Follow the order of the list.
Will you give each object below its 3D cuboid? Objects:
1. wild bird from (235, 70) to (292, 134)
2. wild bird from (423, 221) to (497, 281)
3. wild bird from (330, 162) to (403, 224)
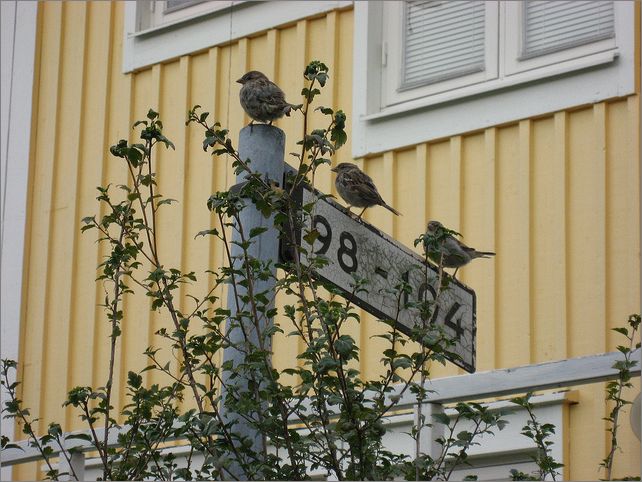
[{"bbox_3d":[-0.430,-1.287,18.137,0.588,0.452,0.330,-2,-6,20],"label":"wild bird"},{"bbox_3d":[1.194,0.052,18.266,0.782,0.499,0.249,0,14,-33],"label":"wild bird"},{"bbox_3d":[0.390,-0.454,18.498,0.690,0.484,0.329,7,-5,18],"label":"wild bird"}]
